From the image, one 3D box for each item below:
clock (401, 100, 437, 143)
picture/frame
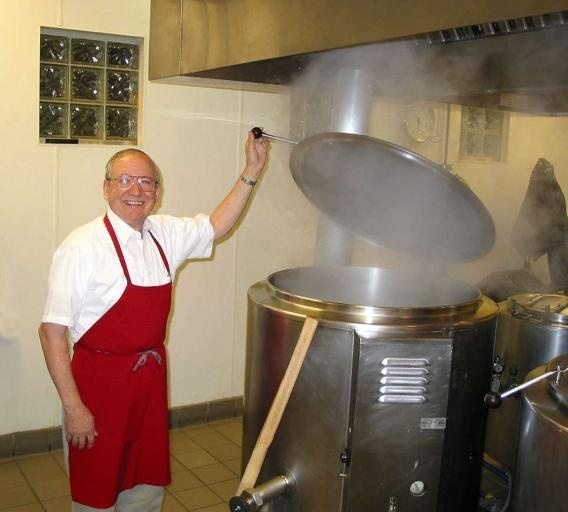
[{"bbox_3d":[0.321,-0.310,1.302,0.082,0.089,0.082,3,10,15],"label":"clock"},{"bbox_3d":[0.477,-0.304,1.353,0.122,0.125,0.015,0,10,-11],"label":"picture/frame"}]
